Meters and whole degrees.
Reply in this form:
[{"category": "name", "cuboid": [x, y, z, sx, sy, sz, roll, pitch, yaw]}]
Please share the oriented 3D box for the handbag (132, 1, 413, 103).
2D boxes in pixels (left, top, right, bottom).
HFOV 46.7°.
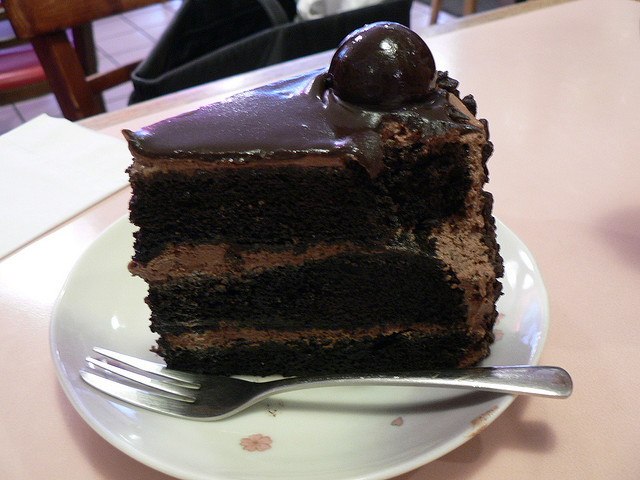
[{"category": "handbag", "cuboid": [-0.109, -0.726, 3.199, 1.089, 0.234, 0.682, -19, 39, -5]}]
